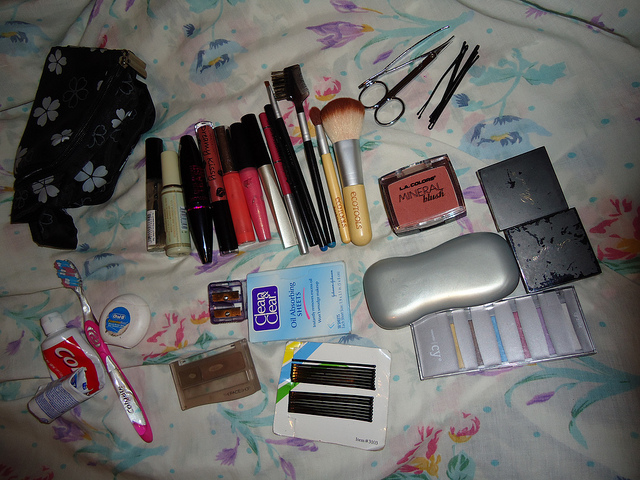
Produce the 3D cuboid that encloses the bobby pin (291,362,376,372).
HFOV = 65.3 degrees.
[{"bbox_3d":[0.042,0.302,1.189,0.096,0.011,0.012,5,35,0],"label":"bobby pin"}]

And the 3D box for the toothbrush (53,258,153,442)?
[{"bbox_3d":[-0.531,0.291,1.237,0.056,0.488,0.024,-28,3,-31],"label":"toothbrush"}]
